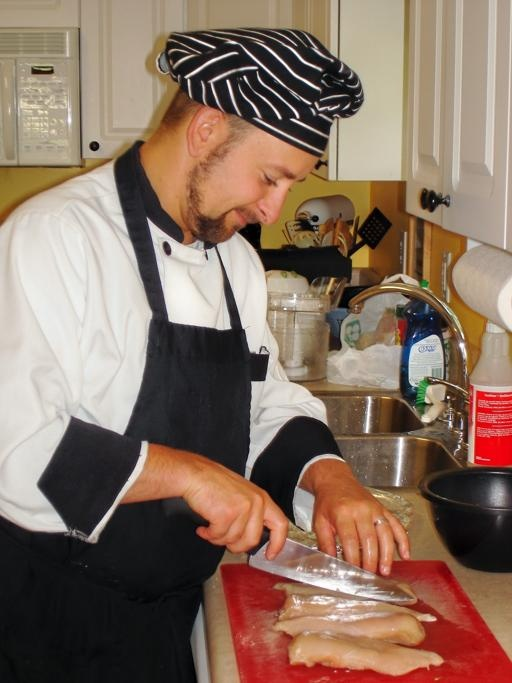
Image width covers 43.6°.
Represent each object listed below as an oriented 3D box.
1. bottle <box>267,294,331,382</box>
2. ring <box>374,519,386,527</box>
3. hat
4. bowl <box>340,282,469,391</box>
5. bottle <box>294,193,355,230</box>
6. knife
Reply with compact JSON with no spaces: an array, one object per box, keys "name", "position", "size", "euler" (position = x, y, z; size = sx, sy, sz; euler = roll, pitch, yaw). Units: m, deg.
[{"name":"bottle","position":[0.127,-0.017,1.858],"size":[0.238,0.245,0.231],"euler":[-1,4,1]},{"name":"ring","position":[0.164,0.239,0.849],"size":[0.014,0.007,0.010],"euler":[-3,6,-21]},{"name":"hat","position":[0.002,-0.342,0.905],"size":[0.226,0.113,0.173],"euler":[29,22,5]},{"name":"bowl","position":[0.349,-0.007,1.446],"size":[0.240,0.322,0.048],"euler":[-6,43,18]},{"name":"bottle","position":[0.346,-0.663,3.259],"size":[0.328,0.154,0.193],"euler":[-18,31,-37]},{"name":"knife","position":[0.085,0.307,0.873],"size":[0.259,0.072,0.020],"euler":[15,-22,14]}]
